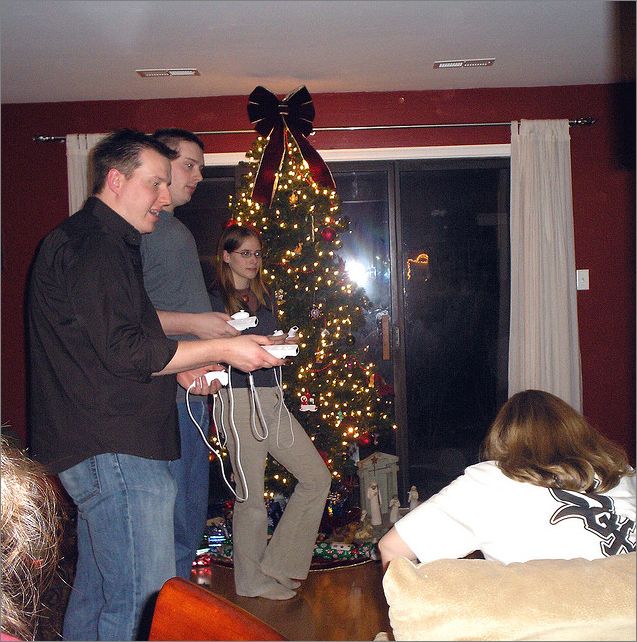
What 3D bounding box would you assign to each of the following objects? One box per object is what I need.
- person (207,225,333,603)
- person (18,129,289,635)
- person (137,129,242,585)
[{"bbox_3d":[-0.222,0.421,3.135,0.484,1.677,0.549,5,7,6],"label":"person"},{"bbox_3d":[-0.536,0.225,2.093,0.539,1.552,0.638,0,8,-31],"label":"person"},{"bbox_3d":[-0.528,0.154,2.453,0.315,1.658,0.353,5,8,5],"label":"person"}]
